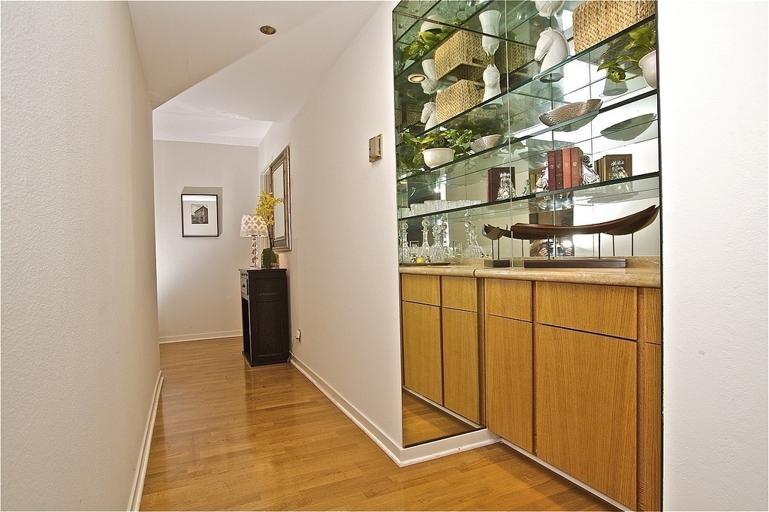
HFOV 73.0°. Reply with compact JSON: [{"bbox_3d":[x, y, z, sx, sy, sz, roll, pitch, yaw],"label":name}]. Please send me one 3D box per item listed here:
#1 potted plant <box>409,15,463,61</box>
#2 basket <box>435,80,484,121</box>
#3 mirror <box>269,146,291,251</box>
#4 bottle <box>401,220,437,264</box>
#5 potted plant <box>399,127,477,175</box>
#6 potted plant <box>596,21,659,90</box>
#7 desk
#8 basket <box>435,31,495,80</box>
[{"bbox_3d":[0.315,-1.281,3.129,0.277,0.260,0.207,-11,7,17],"label":"potted plant"},{"bbox_3d":[0.418,-0.927,3.160,0.268,0.170,0.261,-16,5,-20],"label":"basket"},{"bbox_3d":[-1.141,-0.632,5.695,0.102,1.259,1.316,1,-2,-23],"label":"mirror"},{"bbox_3d":[0.188,-0.097,3.041,0.277,0.322,0.108,0,1,-3],"label":"bottle"},{"bbox_3d":[0.296,-0.649,3.091,0.331,0.146,0.313,0,-4,-13],"label":"potted plant"},{"bbox_3d":[1.209,-0.973,2.610,0.250,0.266,0.475,1,6,22],"label":"potted plant"},{"bbox_3d":[-1.216,0.635,5.336,0.375,0.824,0.934,1,-8,-15],"label":"desk"},{"bbox_3d":[0.472,-1.194,3.075,0.286,0.173,0.284,2,-8,-36],"label":"basket"}]
